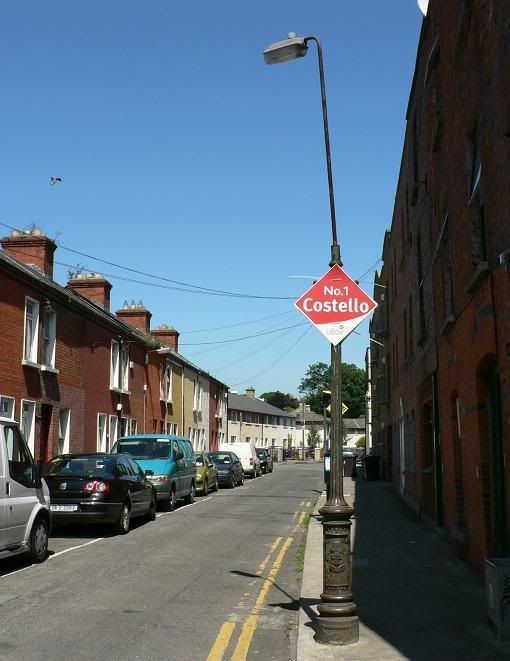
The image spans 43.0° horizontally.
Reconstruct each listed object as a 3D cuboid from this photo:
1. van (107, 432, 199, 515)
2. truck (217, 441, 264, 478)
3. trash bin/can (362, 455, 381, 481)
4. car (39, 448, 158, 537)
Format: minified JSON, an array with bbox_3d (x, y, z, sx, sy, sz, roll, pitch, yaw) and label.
[{"bbox_3d":[-2.844,4.185,18.806,1.695,2.470,4.243,-6,-14,6],"label":"van"},{"bbox_3d":[-0.663,7.600,37.502,1.368,1.835,3.007,-1,-4,4],"label":"truck"},{"bbox_3d":[5.728,6.795,31.870,0.814,1.456,1.166,-4,-6,7],"label":"trash bin/can"},{"bbox_3d":[-2.942,3.221,12.835,0.903,0.957,2.408,-1,-7,7],"label":"car"}]
